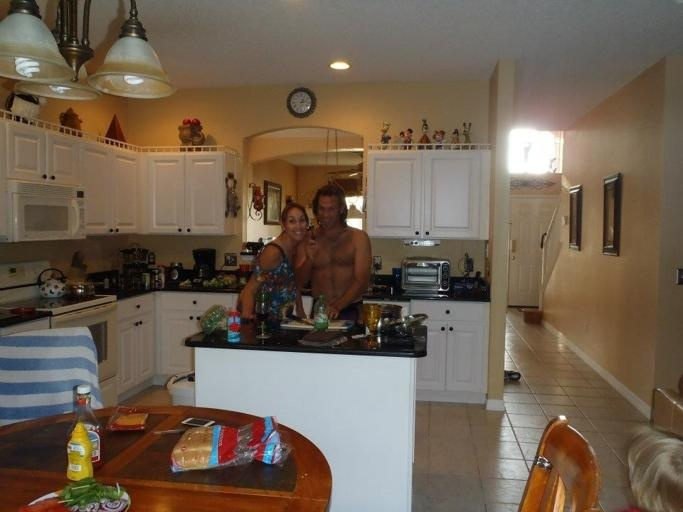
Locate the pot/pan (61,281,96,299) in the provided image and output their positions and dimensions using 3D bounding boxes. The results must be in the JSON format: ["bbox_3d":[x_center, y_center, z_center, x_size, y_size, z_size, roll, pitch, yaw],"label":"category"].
[{"bbox_3d":[-2.208,0.289,4.420,0.169,0.082,0.174,1,-2,-4],"label":"pot/pan"}]

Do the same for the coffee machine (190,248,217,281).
[{"bbox_3d":[-1.469,0.080,5.523,0.238,0.310,0.252,0,7,-6],"label":"coffee machine"}]

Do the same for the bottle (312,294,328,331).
[{"bbox_3d":[-0.121,0.333,3.108,0.091,0.215,0.185,1,7,-4],"label":"bottle"}]

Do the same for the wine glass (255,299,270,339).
[{"bbox_3d":[-0.479,0.351,3.163,0.073,0.231,0.372,0,7,-8],"label":"wine glass"}]

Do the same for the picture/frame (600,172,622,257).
[{"bbox_3d":[2.780,-0.423,5.357,0.111,1.074,0.896,1,1,18],"label":"picture/frame"}]

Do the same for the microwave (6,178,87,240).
[{"bbox_3d":[-2.293,-0.332,4.035,0.350,0.396,0.594,1,2,9],"label":"microwave"}]

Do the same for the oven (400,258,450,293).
[{"bbox_3d":[0.805,0.160,5.044,0.447,0.354,0.283,1,21,8],"label":"oven"}]

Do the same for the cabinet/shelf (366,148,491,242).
[{"bbox_3d":[0.879,-0.539,5.189,1.393,1.082,0.784,1,2,11],"label":"cabinet/shelf"}]

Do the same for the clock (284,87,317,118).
[{"bbox_3d":[-0.415,-1.576,5.373,0.290,0.308,0.300,3,15,6],"label":"clock"}]

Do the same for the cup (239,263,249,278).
[{"bbox_3d":[-1.035,0.154,5.519,0.111,0.117,0.113,1,0,0],"label":"cup"}]

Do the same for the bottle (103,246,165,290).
[{"bbox_3d":[-2.095,0.154,5.312,0.460,0.203,0.468,3,9,-1],"label":"bottle"}]

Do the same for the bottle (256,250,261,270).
[{"bbox_3d":[-0.533,0.034,3.346,0.029,0.119,0.067,-2,7,-22],"label":"bottle"}]

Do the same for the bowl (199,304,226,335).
[{"bbox_3d":[-0.795,0.385,3.202,0.148,0.155,0.170,-4,9,-38],"label":"bowl"}]

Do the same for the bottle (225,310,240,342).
[{"bbox_3d":[-0.624,0.404,2.998,0.069,0.160,0.131,-1,7,-14],"label":"bottle"}]

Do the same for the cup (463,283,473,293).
[{"bbox_3d":[1.256,0.308,5.132,0.086,0.052,0.077,2,7,9],"label":"cup"}]
